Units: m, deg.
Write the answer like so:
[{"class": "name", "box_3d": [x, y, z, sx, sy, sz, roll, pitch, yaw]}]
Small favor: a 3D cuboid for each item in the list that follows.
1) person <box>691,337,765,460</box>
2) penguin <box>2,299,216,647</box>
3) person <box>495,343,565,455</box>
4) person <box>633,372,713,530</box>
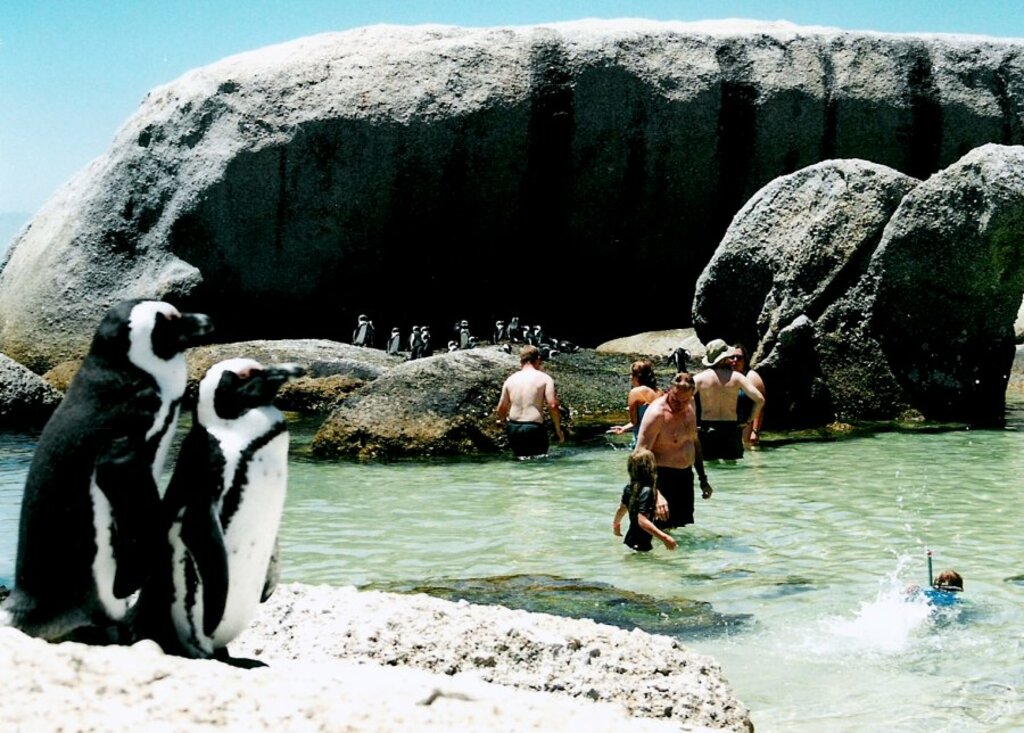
[{"class": "person", "box_3d": [2.464, 0.427, 14.879, 0.615, 1.703, 0.727, 0, 1, -4]}, {"class": "penguin", "box_3d": [-2.574, 0.662, 8.151, 1.132, 2.212, 0.434, 1, 2, -17]}, {"class": "person", "box_3d": [0.166, 0.401, 15.275, 0.787, 1.284, 0.731, 0, 7, -9]}, {"class": "person", "box_3d": [1.491, 0.805, 11.840, 0.758, 1.375, 0.686, 2, 8, 2]}]
